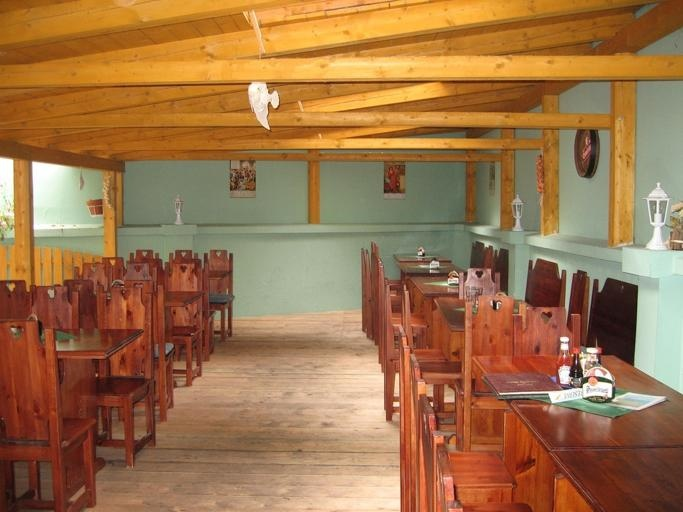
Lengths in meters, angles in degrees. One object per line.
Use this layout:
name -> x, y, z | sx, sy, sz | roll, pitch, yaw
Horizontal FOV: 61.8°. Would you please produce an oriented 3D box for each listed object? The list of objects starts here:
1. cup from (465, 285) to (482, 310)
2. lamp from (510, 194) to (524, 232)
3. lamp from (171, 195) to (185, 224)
cup -> 1.194, 0.380, 5.171 | 0.183, 0.274, 0.179 | 0, 8, 0
lamp -> 2.677, -0.669, 8.653 | 0.175, 0.522, 0.782 | 3, 10, 17
lamp -> -2.856, -0.812, 9.977 | 0.170, 0.488, 0.738 | -3, 10, -16
